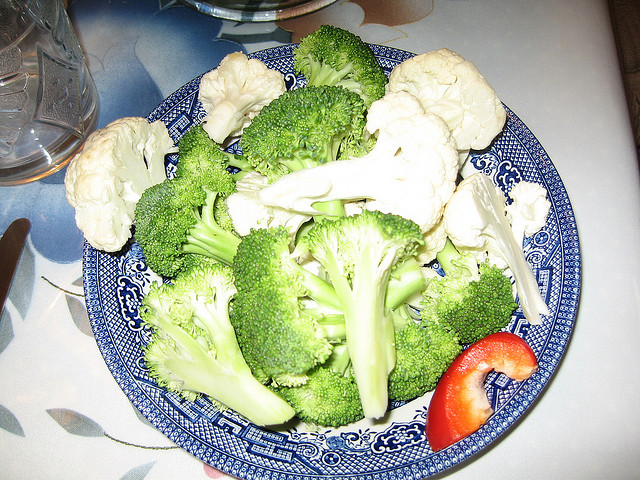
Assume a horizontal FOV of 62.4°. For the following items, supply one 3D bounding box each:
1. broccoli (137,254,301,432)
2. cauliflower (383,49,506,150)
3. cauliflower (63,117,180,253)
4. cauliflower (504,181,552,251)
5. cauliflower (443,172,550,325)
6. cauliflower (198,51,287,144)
[{"bbox_3d":[-0.392,0.396,2.195,0.596,0.644,0.603,-7,19,-8],"label":"broccoli"},{"bbox_3d":[0.518,-0.658,2.352,0.467,0.431,0.382,-4,28,-8],"label":"cauliflower"},{"bbox_3d":[-0.810,-0.237,2.309,0.521,0.270,0.578,-16,69,16],"label":"cauliflower"},{"bbox_3d":[0.865,-0.106,2.262,0.165,0.267,0.136,-2,14,-26],"label":"cauliflower"},{"bbox_3d":[0.678,0.105,2.265,0.358,0.178,0.656,-22,84,-28],"label":"cauliflower"},{"bbox_3d":[-0.359,-0.656,2.419,0.340,0.180,0.433,30,56,7],"label":"cauliflower"}]
